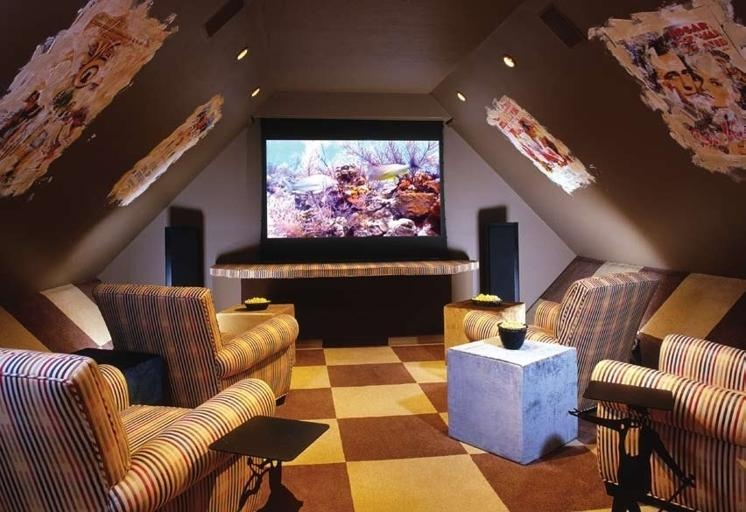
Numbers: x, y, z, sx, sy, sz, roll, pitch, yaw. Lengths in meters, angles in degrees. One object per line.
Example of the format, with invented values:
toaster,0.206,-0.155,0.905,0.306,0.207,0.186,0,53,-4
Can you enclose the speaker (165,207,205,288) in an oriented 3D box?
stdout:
speaker,-2.292,0.024,6.435,0.502,0.751,0.484,-4,8,-42

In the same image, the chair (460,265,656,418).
chair,1.960,0.968,4.671,1.455,1.163,1.545,-4,-21,-10

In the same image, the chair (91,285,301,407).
chair,-1.392,0.784,4.332,1.251,1.138,1.221,2,5,33

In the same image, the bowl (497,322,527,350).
bowl,1.047,0.594,3.979,0.191,0.169,0.195,-1,0,0
